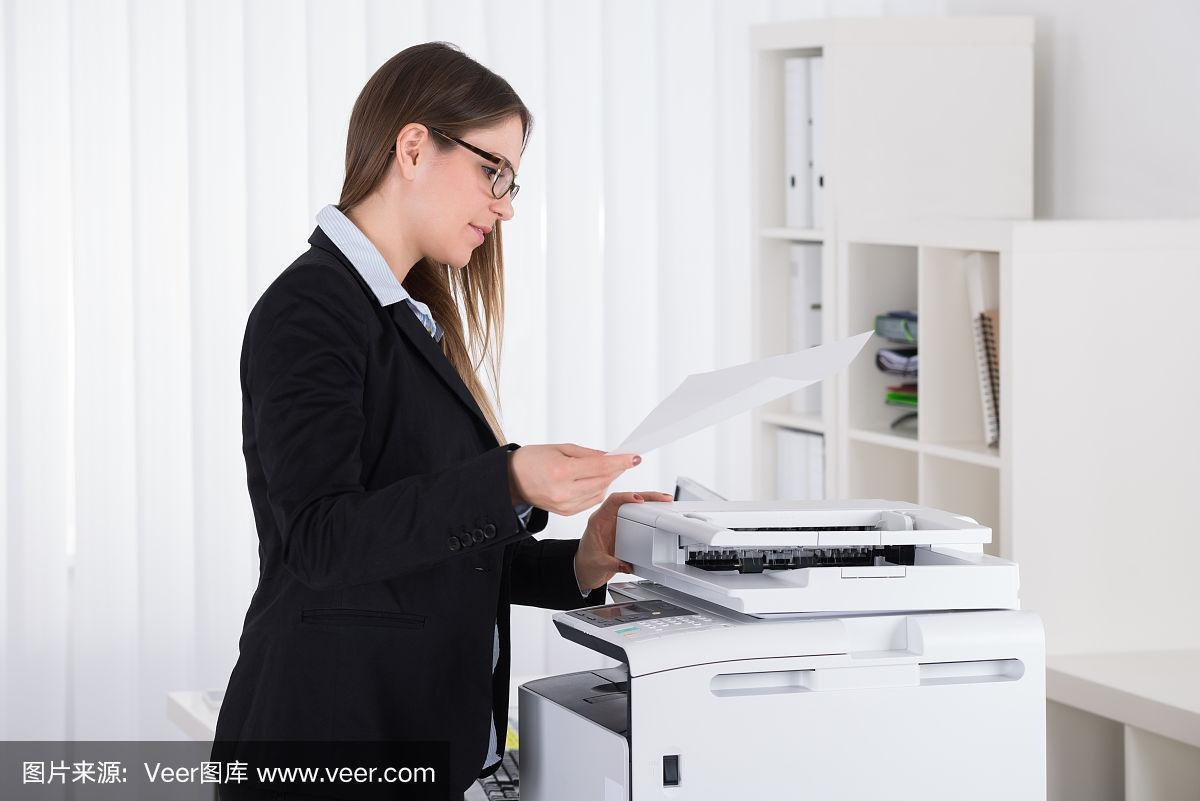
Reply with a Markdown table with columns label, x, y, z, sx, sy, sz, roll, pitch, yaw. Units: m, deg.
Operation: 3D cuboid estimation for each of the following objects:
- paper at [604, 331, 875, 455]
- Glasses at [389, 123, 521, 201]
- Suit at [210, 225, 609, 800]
| label | x | y | z | sx | sy | sz | roll | pitch | yaw |
| --- | --- | --- | --- | --- | --- | --- | --- | --- | --- |
| paper | 0.220 | -0.012 | 1.566 | 0.417 | 0.170 | 0.104 | -1 | -2 | -20 |
| Glasses | -0.226 | -0.359 | 1.713 | 0.141 | 0.040 | 0.134 | 27 | -2 | 4 |
| Suit | -0.310 | 0.174 | 1.648 | 0.566 | 0.916 | 0.400 | -1 | -2 | -20 |
